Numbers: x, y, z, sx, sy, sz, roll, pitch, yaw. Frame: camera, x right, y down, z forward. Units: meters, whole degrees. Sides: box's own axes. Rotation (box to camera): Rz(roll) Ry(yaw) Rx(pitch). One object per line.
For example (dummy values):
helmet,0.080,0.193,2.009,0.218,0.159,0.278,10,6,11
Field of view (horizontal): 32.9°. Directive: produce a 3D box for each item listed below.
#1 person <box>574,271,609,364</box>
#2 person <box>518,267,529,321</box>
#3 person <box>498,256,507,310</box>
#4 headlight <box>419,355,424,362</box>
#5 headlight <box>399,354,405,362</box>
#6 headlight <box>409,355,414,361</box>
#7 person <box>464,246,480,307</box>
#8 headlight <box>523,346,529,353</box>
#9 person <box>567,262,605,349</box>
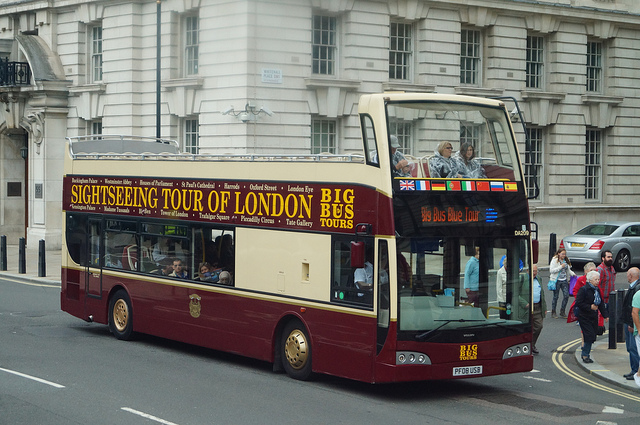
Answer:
person,7.547,2.889,30.098,0.927,2.613,0.809,-4,10,-28
person,5.277,2.160,27.924,0.329,1.286,0.223,-2,11,-11
person,4.696,1.859,27.732,0.273,1.247,0.268,-2,11,-7
headlight,2.549,3.656,26.972,0.120,0.121,0.127,0,0,19
headlight,2.044,3.618,26.861,0.121,0.126,0.040,-33,2,7
headlight,2.304,3.627,26.861,0.104,0.107,0.109,2,5,31
person,3.914,1.659,27.367,0.262,1.489,0.536,9,14,40
headlight,5.326,3.543,27.918,0.127,0.138,0.068,16,-3,0
person,7.786,2.707,31.622,0.985,2.582,0.943,0,25,7
